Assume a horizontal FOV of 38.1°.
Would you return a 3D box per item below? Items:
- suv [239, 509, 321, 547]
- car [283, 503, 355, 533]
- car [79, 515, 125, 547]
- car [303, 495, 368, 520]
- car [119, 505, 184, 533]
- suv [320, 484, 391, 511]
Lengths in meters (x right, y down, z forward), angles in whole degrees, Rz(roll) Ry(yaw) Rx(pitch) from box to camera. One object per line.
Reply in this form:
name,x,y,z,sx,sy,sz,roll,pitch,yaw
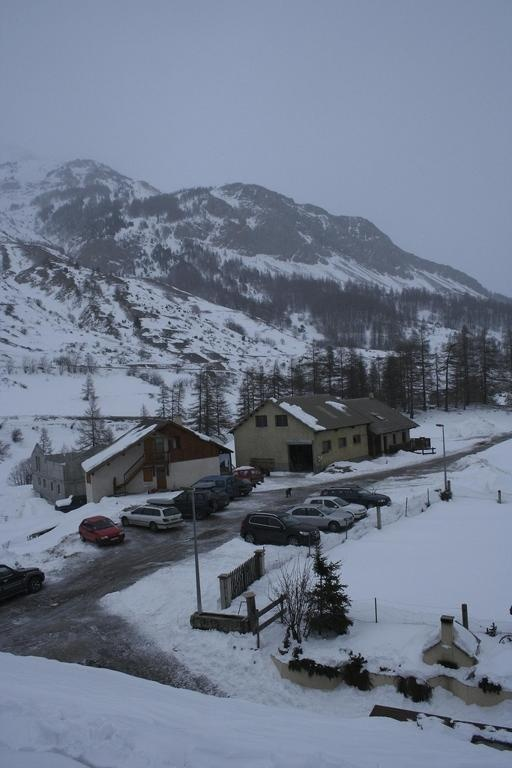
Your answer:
suv,0.846,5.639,28.314,2.463,1.216,1.263,-3,-1,30
car,2.619,5.556,30.941,2.544,1.023,1.112,-1,4,39
car,-6.662,6.226,31.312,0.963,0.870,1.697,-3,-3,-34
car,3.577,5.344,32.614,2.241,0.890,1.116,-3,0,31
car,-4.878,6.107,34.065,2.594,1.033,1.244,5,0,40
suv,4.808,5.343,34.998,2.590,1.139,1.269,-4,1,37
